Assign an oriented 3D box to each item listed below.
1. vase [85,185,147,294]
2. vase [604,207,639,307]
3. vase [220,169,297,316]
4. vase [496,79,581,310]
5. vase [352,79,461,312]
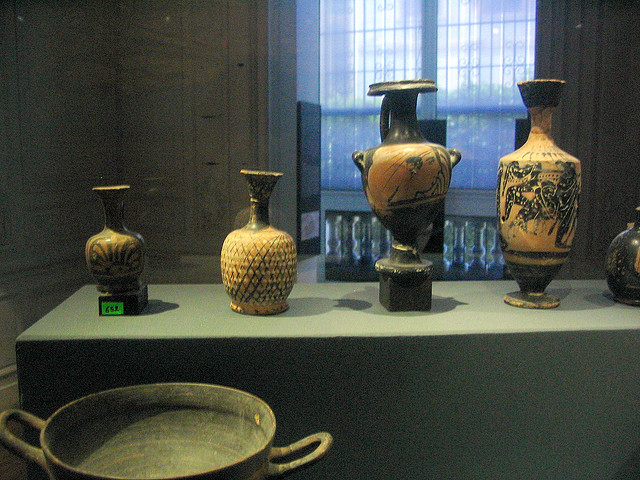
[{"bbox_3d":[-0.820,0.003,2.681,0.187,0.433,0.214,13,20,42],"label":"vase"},{"bbox_3d":[1.273,0.059,2.798,0.129,0.397,0.154,4,15,15],"label":"vase"},{"bbox_3d":[-0.254,0.003,2.690,0.287,0.567,0.225,-6,16,-21],"label":"vase"},{"bbox_3d":[0.894,-0.189,2.757,0.310,0.917,0.269,-3,15,-10],"label":"vase"},{"bbox_3d":[0.339,-0.187,2.731,0.437,0.914,0.288,2,15,9],"label":"vase"}]
